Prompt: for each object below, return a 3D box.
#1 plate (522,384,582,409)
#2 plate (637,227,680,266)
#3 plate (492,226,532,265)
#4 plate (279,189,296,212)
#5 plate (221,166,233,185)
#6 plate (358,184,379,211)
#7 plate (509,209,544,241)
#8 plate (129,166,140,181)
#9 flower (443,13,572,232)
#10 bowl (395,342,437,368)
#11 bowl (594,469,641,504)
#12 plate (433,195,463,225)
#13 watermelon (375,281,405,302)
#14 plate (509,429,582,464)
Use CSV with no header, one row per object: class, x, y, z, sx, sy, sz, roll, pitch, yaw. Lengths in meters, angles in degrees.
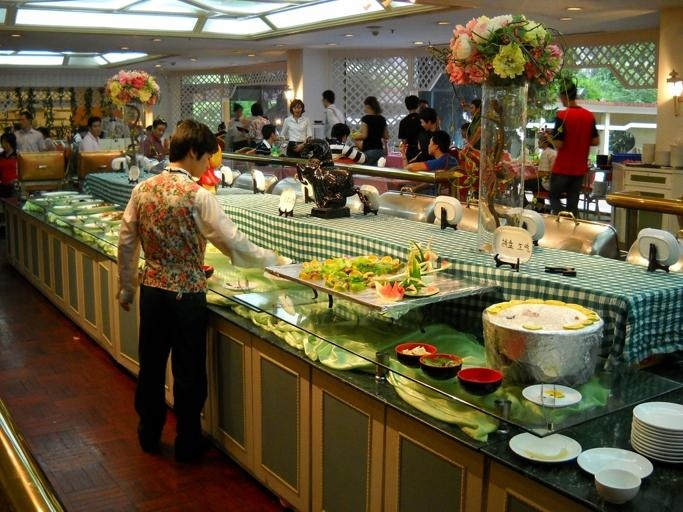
plate,0.610,0.397,1.451,0.153,0.028,0.103,-5,15,-10
plate,1.212,-0.030,1.939,0.094,0.150,0.157,-21,20,-34
plate,0.669,-0.035,1.984,0.136,0.160,0.142,2,15,16
plate,-0.296,-0.314,2.897,0.098,0.126,0.041,9,-6,30
plate,-0.942,-0.682,4.327,0.112,0.141,0.146,4,-8,-2
plate,0.182,-0.363,3.103,0.108,0.147,0.158,-2,14,-9
plate,0.792,-0.130,2.167,0.143,0.124,0.052,8,16,40
plate,-1.943,-0.771,4.764,0.101,0.133,0.144,6,20,-1
flower,0.648,-0.511,2.069,0.453,0.852,0.267,3,16,21
bowl,0.259,0.342,1.783,0.085,0.036,0.083,0,5,0
bowl,0.657,0.545,1.199,0.101,0.059,0.096,-2,15,1
plate,0.568,-0.238,2.697,0.193,0.189,0.102,-2,18,18
watermelon,0.185,0.121,1.866,0.086,0.051,0.070,16,-9,47
plate,0.563,0.524,1.388,0.192,0.021,0.141,0,15,8
